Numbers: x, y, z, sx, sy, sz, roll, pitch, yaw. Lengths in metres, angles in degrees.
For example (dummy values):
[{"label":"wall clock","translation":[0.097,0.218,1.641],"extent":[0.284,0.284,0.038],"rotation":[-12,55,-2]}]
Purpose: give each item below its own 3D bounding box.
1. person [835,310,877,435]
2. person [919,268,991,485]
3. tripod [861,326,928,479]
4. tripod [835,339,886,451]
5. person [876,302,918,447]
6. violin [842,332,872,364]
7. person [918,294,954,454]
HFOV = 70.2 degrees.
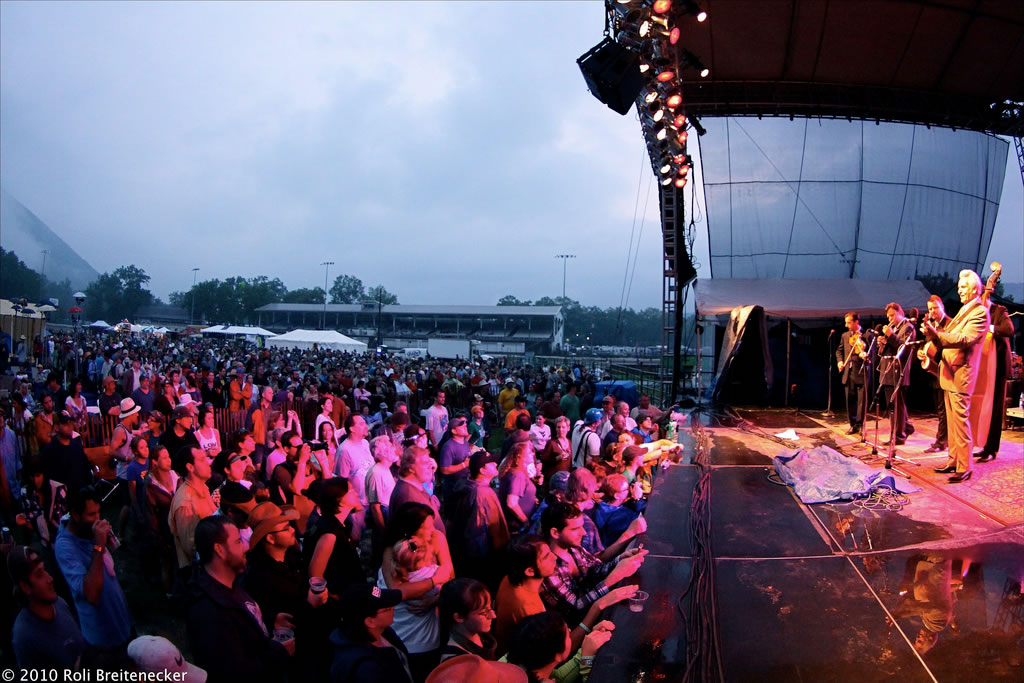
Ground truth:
[{"label":"person","translation":[6.341,0.598,13.442],"extent":[0.846,2.585,0.886],"rotation":[-4,-2,44]},{"label":"person","translation":[6.299,0.468,10.322],"extent":[0.774,2.923,0.798],"rotation":[3,3,44]},{"label":"tripod","translation":[6.151,0.736,11.676],"extent":[0.735,2.298,0.407],"rotation":[-15,22,-35]},{"label":"tripod","translation":[6.460,0.758,13.390],"extent":[0.953,2.432,0.946],"rotation":[-3,-3,32]},{"label":"person","translation":[6.268,0.528,11.855],"extent":[0.571,2.178,0.787],"rotation":[0,-1,43]},{"label":"violin","translation":[6.349,0.117,13.332],"extent":[0.276,0.546,0.476],"rotation":[9,-13,-29]},{"label":"person","translation":[7.039,0.614,12.095],"extent":[0.479,2.958,0.465],"rotation":[0,0,2]}]
